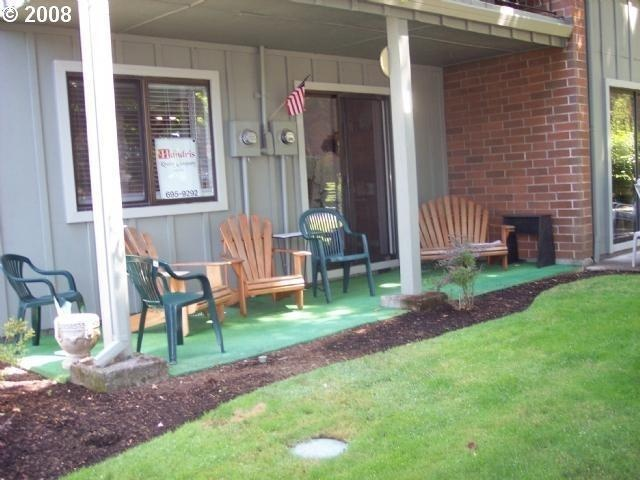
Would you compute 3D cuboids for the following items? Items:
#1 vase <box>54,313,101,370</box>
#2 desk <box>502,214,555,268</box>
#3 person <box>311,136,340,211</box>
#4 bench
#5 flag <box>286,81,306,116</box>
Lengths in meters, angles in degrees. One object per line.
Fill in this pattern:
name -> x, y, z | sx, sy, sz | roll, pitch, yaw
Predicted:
vase -> -1.856, 0.738, 4.337 | 0.385, 0.438, 0.379 | -2, 2, -38
desk -> 3.047, 0.025, 8.164 | 0.362, 0.653, 0.651 | -9, 11, -37
person -> 0.080, -0.951, 7.692 | 0.526, 1.039, 0.135 | -10, 13, -42
bench -> 2.096, -0.184, 8.074 | 1.155, 1.133, 1.150 | -2, 6, -18
flag -> -0.317, -1.725, 6.835 | 0.203, 0.364, 0.358 | -3, 10, -8
